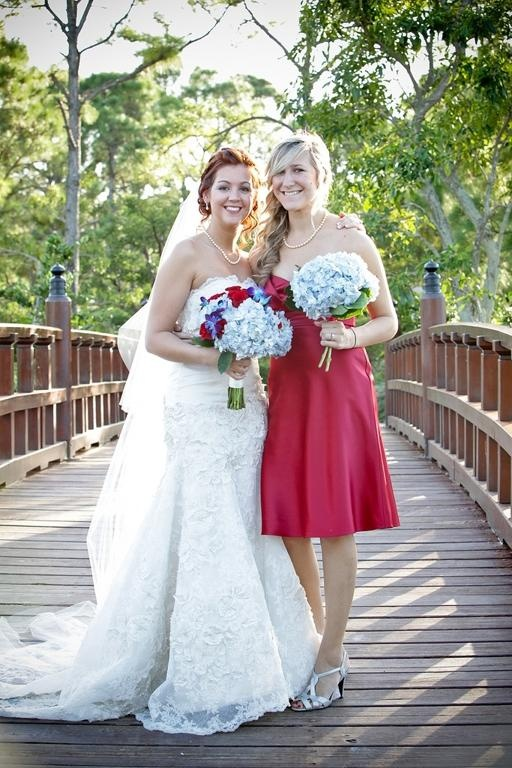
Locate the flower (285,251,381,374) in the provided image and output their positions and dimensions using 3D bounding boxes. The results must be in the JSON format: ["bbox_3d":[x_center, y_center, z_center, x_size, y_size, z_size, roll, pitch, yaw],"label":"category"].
[{"bbox_3d":[0.179,-0.192,2.498,0.323,0.381,0.336,1,-2,-18],"label":"flower"}]

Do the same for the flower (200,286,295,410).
[{"bbox_3d":[-0.078,-0.121,2.471,0.269,0.293,0.301,-9,29,-22],"label":"flower"}]

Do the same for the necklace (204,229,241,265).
[{"bbox_3d":[-0.121,-0.423,2.642,0.008,0.131,0.100,-27,4,37],"label":"necklace"}]

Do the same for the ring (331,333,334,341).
[{"bbox_3d":[0.218,-0.133,2.371,0.003,0.012,0.010,2,3,-21],"label":"ring"}]
